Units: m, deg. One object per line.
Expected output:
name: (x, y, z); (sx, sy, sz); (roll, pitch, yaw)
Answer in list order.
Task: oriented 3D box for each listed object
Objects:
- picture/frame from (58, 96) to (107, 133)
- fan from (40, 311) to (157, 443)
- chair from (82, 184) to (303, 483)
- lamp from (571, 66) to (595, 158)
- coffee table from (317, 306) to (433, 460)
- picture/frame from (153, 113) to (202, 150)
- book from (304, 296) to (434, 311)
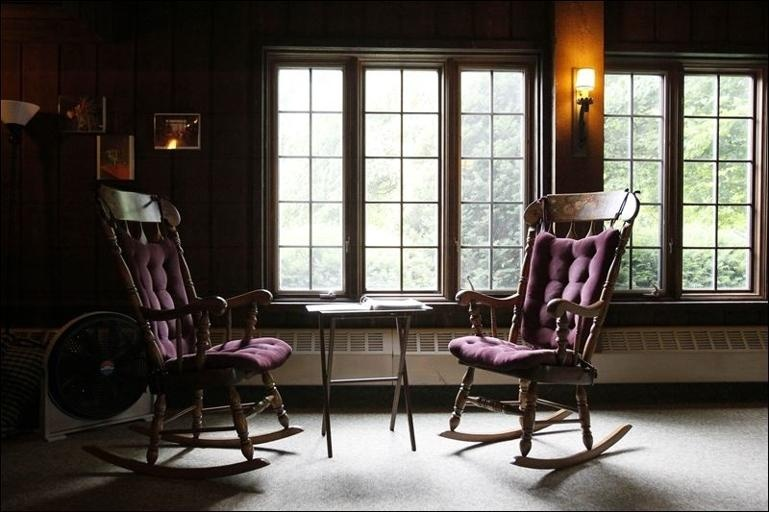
picture/frame: (-2.395, -1.126, 5.364); (0.362, 0.280, 0.114); (1, 3, 6)
fan: (-2.015, 0.856, 4.698); (0.999, 1.007, 0.385); (-1, -1, -33)
chair: (-1.269, 0.463, 4.485); (1.219, 1.852, 0.818); (1, 5, 21)
lamp: (1.564, -1.141, 5.333); (0.155, 0.687, 0.112); (1, 5, 13)
coffee table: (-0.155, 0.802, 4.894); (0.810, 1.003, 0.928); (-1, 4, -7)
picture/frame: (-1.678, -0.984, 5.337); (0.320, 0.211, 0.030); (-1, 3, 0)
book: (-0.142, 0.340, 4.699); (0.800, 0.057, 0.396); (-1, 4, -10)
